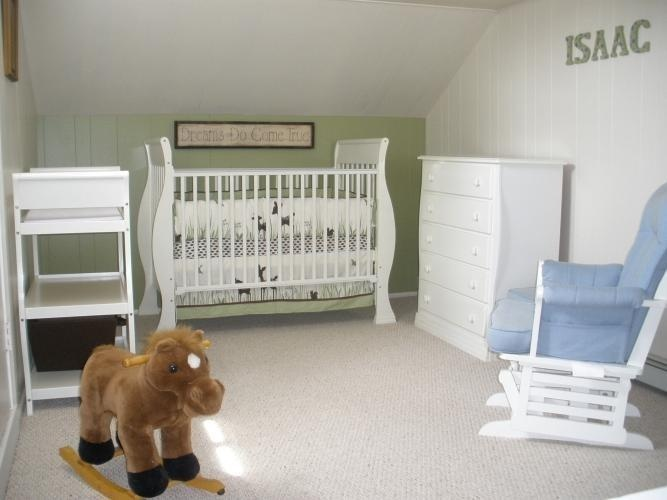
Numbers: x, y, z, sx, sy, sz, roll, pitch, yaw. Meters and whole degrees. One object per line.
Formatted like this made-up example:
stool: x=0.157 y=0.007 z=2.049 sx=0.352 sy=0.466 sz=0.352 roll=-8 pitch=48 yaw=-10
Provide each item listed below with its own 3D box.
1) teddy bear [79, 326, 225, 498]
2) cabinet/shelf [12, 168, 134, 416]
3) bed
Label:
teddy bear: x=-0.717 y=0.595 z=1.973 sx=0.732 sy=0.653 sz=0.288 roll=10 pitch=15 yaw=40
cabinet/shelf: x=-1.406 y=0.214 z=2.800 sx=0.633 sy=1.188 sz=0.609 roll=-4 pitch=8 yaw=-36
bed: x=-0.577 y=0.028 z=4.181 sx=2.096 sy=1.819 sz=1.254 roll=-1 pitch=17 yaw=5
